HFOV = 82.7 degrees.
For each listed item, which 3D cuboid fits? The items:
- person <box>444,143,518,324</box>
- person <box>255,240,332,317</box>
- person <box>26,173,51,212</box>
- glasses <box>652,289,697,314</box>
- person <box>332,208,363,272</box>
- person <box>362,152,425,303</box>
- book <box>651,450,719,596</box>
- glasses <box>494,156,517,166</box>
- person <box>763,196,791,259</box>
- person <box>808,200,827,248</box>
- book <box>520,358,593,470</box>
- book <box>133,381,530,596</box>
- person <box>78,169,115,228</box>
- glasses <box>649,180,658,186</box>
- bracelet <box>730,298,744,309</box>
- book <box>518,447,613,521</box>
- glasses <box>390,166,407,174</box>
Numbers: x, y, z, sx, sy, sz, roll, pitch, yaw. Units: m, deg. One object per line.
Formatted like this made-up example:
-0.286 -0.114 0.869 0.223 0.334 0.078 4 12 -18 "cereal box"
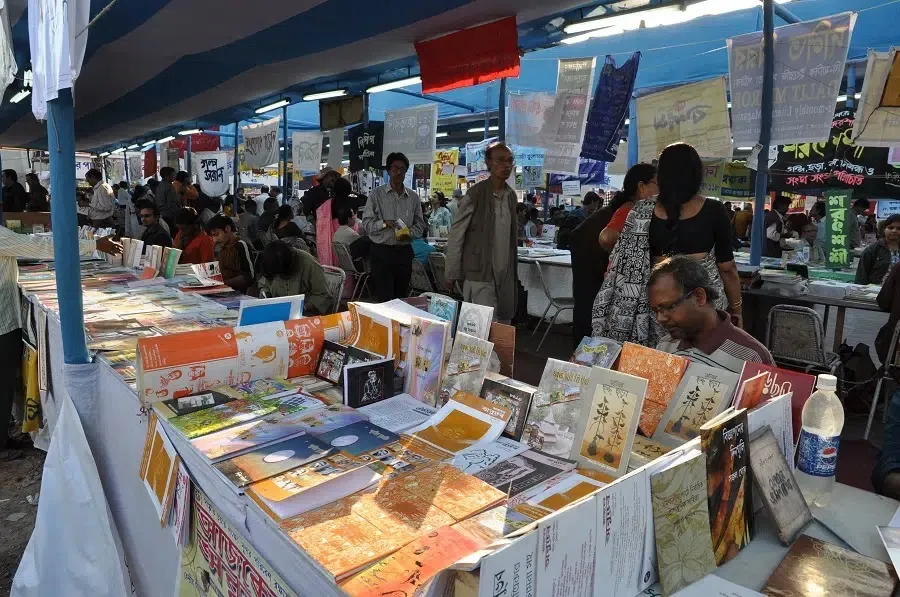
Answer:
0.295 -0.506 4.343 0.665 1.561 0.462 -2 12 -8 "person"
-1.319 -0.056 4.265 0.653 0.854 0.462 1 20 -7 "person"
-9.178 -2.359 11.285 0.390 0.842 2.541 -10 15 -38 "person"
0.863 0.004 1.976 0.099 0.028 0.092 -11 -11 -29 "glasses"
-1.442 -0.858 7.156 0.381 0.765 0.708 -3 12 -12 "person"
-0.580 -0.759 5.543 0.630 1.628 0.632 -12 16 -42 "person"
0.619 0.581 1.346 0.194 0.337 0.087 -7 13 -27 "book"
0.441 -1.106 4.173 0.109 0.034 0.108 -3 7 -19 "glasses"
5.462 -1.212 8.544 0.304 0.968 1.733 7 14 33 "person"
5.476 -1.006 7.635 0.289 0.848 0.265 -4 29 27 "person"
0.373 0.409 1.762 0.251 0.324 0.197 15 -8 38 "book"
-0.303 0.594 1.645 0.665 0.171 1.008 -11 15 -43 "book"
-6.589 -1.783 9.606 0.623 1.177 0.697 -4 19 -34 "person"
1.483 -0.837 3.722 0.015 0.047 0.047 -7 14 -45 "glasses"
1.869 0.031 3.324 0.099 0.040 0.108 -9 0 1 "bracelet"
0.341 0.585 1.555 0.342 0.035 0.127 -8 14 -36 "book"
-0.546 -1.328 5.287 0.101 0.045 0.128 -1 3 -8 "glasses"
